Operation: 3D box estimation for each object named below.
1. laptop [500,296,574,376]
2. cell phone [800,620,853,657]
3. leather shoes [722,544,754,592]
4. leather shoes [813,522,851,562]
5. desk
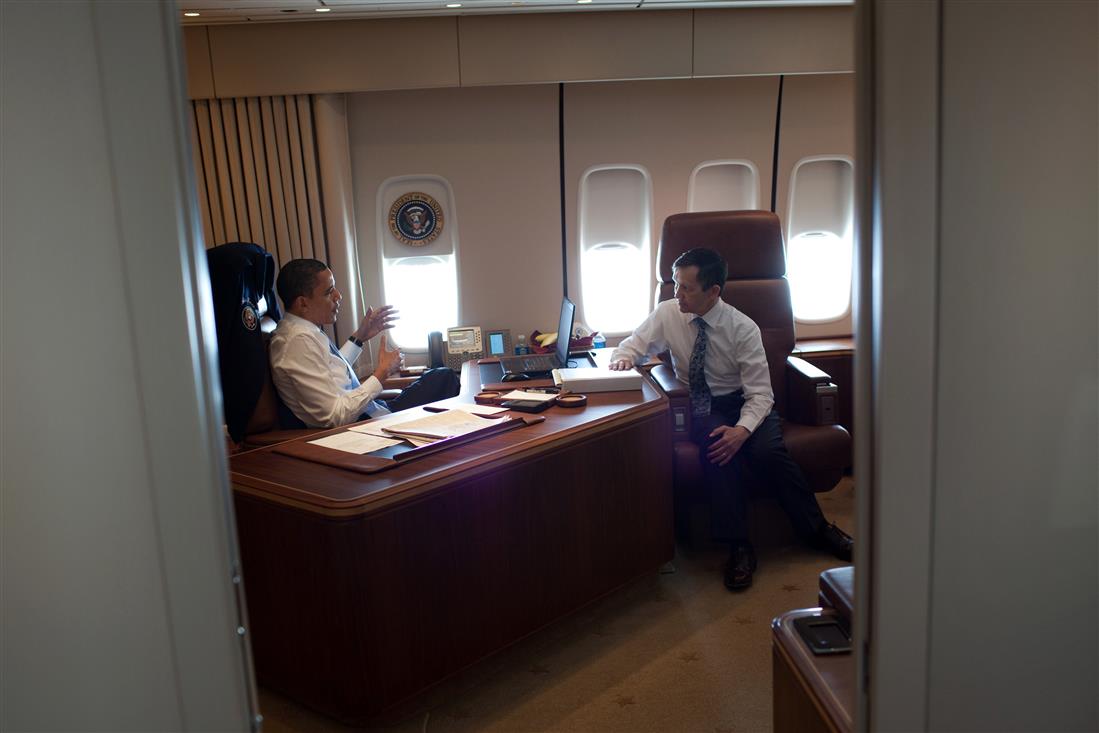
[{"bbox_3d":[-0.021,-0.146,3.785,0.343,0.346,0.520,-1,11,-11],"label":"laptop"},{"bbox_3d":[0.591,0.581,1.762,0.094,0.025,0.110,-2,14,1],"label":"cell phone"},{"bbox_3d":[0.760,0.781,3.256,0.098,0.100,0.285,1,12,25],"label":"leather shoes"},{"bbox_3d":[1.164,0.735,3.394,0.217,0.096,0.075,20,38,28],"label":"leather shoes"},{"bbox_3d":[-0.282,0.553,2.906,0.689,0.726,1.449,8,14,43],"label":"desk"}]
